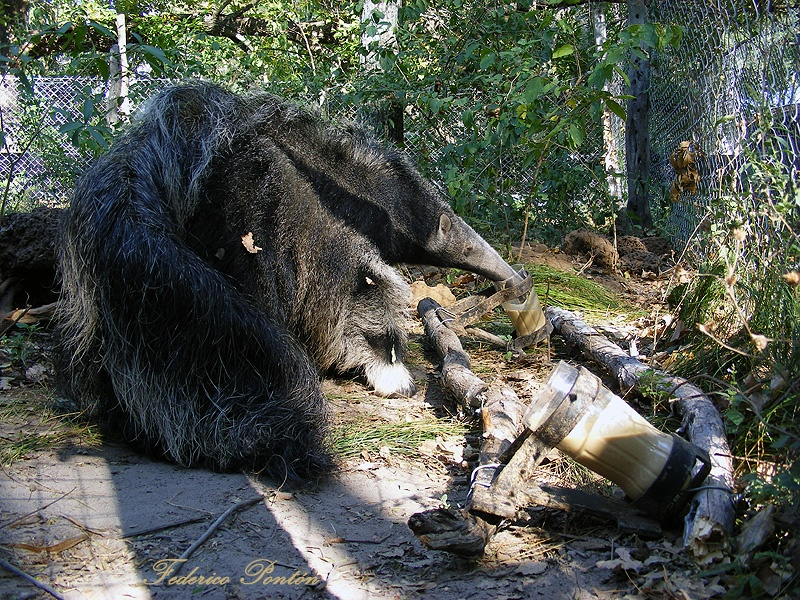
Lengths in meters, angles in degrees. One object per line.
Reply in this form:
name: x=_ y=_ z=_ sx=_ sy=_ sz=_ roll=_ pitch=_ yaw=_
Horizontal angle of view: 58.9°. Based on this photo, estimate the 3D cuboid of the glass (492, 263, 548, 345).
glass: x=0.887 y=0.050 z=5.318 sx=0.346 sy=0.532 sz=0.377 roll=-18 pitch=20 yaw=49
